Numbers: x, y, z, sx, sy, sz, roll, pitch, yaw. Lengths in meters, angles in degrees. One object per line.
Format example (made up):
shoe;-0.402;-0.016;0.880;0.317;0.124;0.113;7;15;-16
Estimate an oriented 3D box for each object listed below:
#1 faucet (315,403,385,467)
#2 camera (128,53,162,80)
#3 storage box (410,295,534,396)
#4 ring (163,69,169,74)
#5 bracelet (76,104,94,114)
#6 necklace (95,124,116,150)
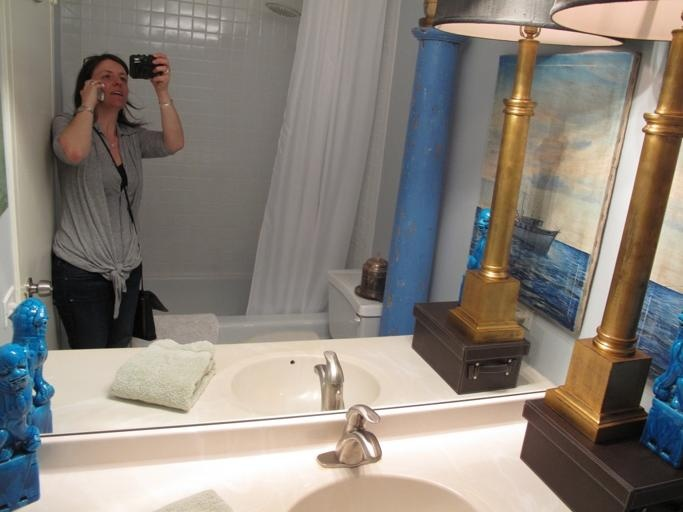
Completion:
faucet;0.029;0.408;1.108;0.127;0.135;0.157;2;-3;-25
camera;-0.371;-0.359;0.928;0.063;0.057;0.036;0;35;-15
storage box;0.326;0.245;1.264;0.231;0.166;0.319;-2;16;-17
ring;-0.338;-0.356;0.936;0.008;0.007;0.008;8;35;-5
bracelet;-0.502;-0.283;0.948;0.021;0.015;0.023;5;5;16
necklace;-0.468;-0.240;0.974;0.030;0.045;0.011;-15;29;17
